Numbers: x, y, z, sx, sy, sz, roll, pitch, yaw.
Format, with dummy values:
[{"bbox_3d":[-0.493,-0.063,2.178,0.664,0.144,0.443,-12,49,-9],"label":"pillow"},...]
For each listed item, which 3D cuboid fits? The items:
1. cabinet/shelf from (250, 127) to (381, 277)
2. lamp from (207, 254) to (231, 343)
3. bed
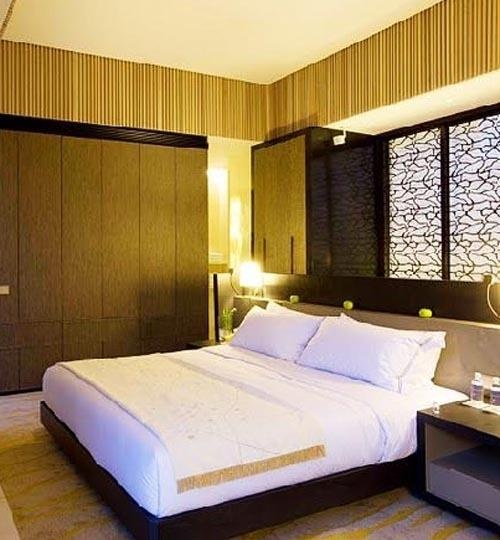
[{"bbox_3d":[0.595,-0.646,5.063,0.876,1.448,0.938,1,3,26],"label":"cabinet/shelf"},{"bbox_3d":[-0.334,0.329,4.808,0.274,0.924,0.859,0,-2,-11],"label":"lamp"},{"bbox_3d":[-0.199,0.809,2.375,1.783,0.460,1.411,1,4,40],"label":"bed"}]
